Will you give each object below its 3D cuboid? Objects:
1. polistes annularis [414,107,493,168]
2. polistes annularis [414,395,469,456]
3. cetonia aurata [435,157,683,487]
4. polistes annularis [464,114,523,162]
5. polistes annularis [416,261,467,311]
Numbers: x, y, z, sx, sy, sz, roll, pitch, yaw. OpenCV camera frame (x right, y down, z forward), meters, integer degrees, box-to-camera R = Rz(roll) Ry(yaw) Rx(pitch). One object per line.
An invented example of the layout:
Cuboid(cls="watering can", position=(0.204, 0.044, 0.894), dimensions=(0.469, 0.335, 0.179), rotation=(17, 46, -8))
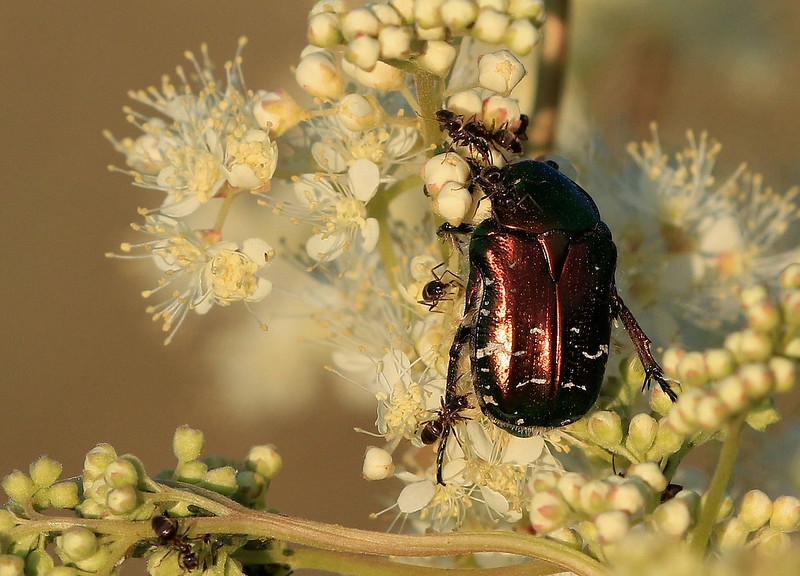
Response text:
Cuboid(cls="polistes annularis", position=(0.147, -0.354, 2.504), dimensions=(0.076, 0.056, 0.244), rotation=(-40, -52, 22))
Cuboid(cls="polistes annularis", position=(0.103, 0.330, 2.600), dimensions=(0.045, 0.114, 0.148), rotation=(11, -57, -52))
Cuboid(cls="cetonia aurata", position=(0.385, -0.001, 2.662), dimensions=(0.640, 0.862, 0.235), rotation=(3, -38, 5))
Cuboid(cls="polistes annularis", position=(0.231, -0.351, 2.605), dimensions=(0.126, 0.126, 0.120), rotation=(-1, -72, -9))
Cuboid(cls="polistes annularis", position=(0.103, 0.001, 2.654), dimensions=(0.123, 0.089, 0.049), rotation=(-25, -22, 30))
